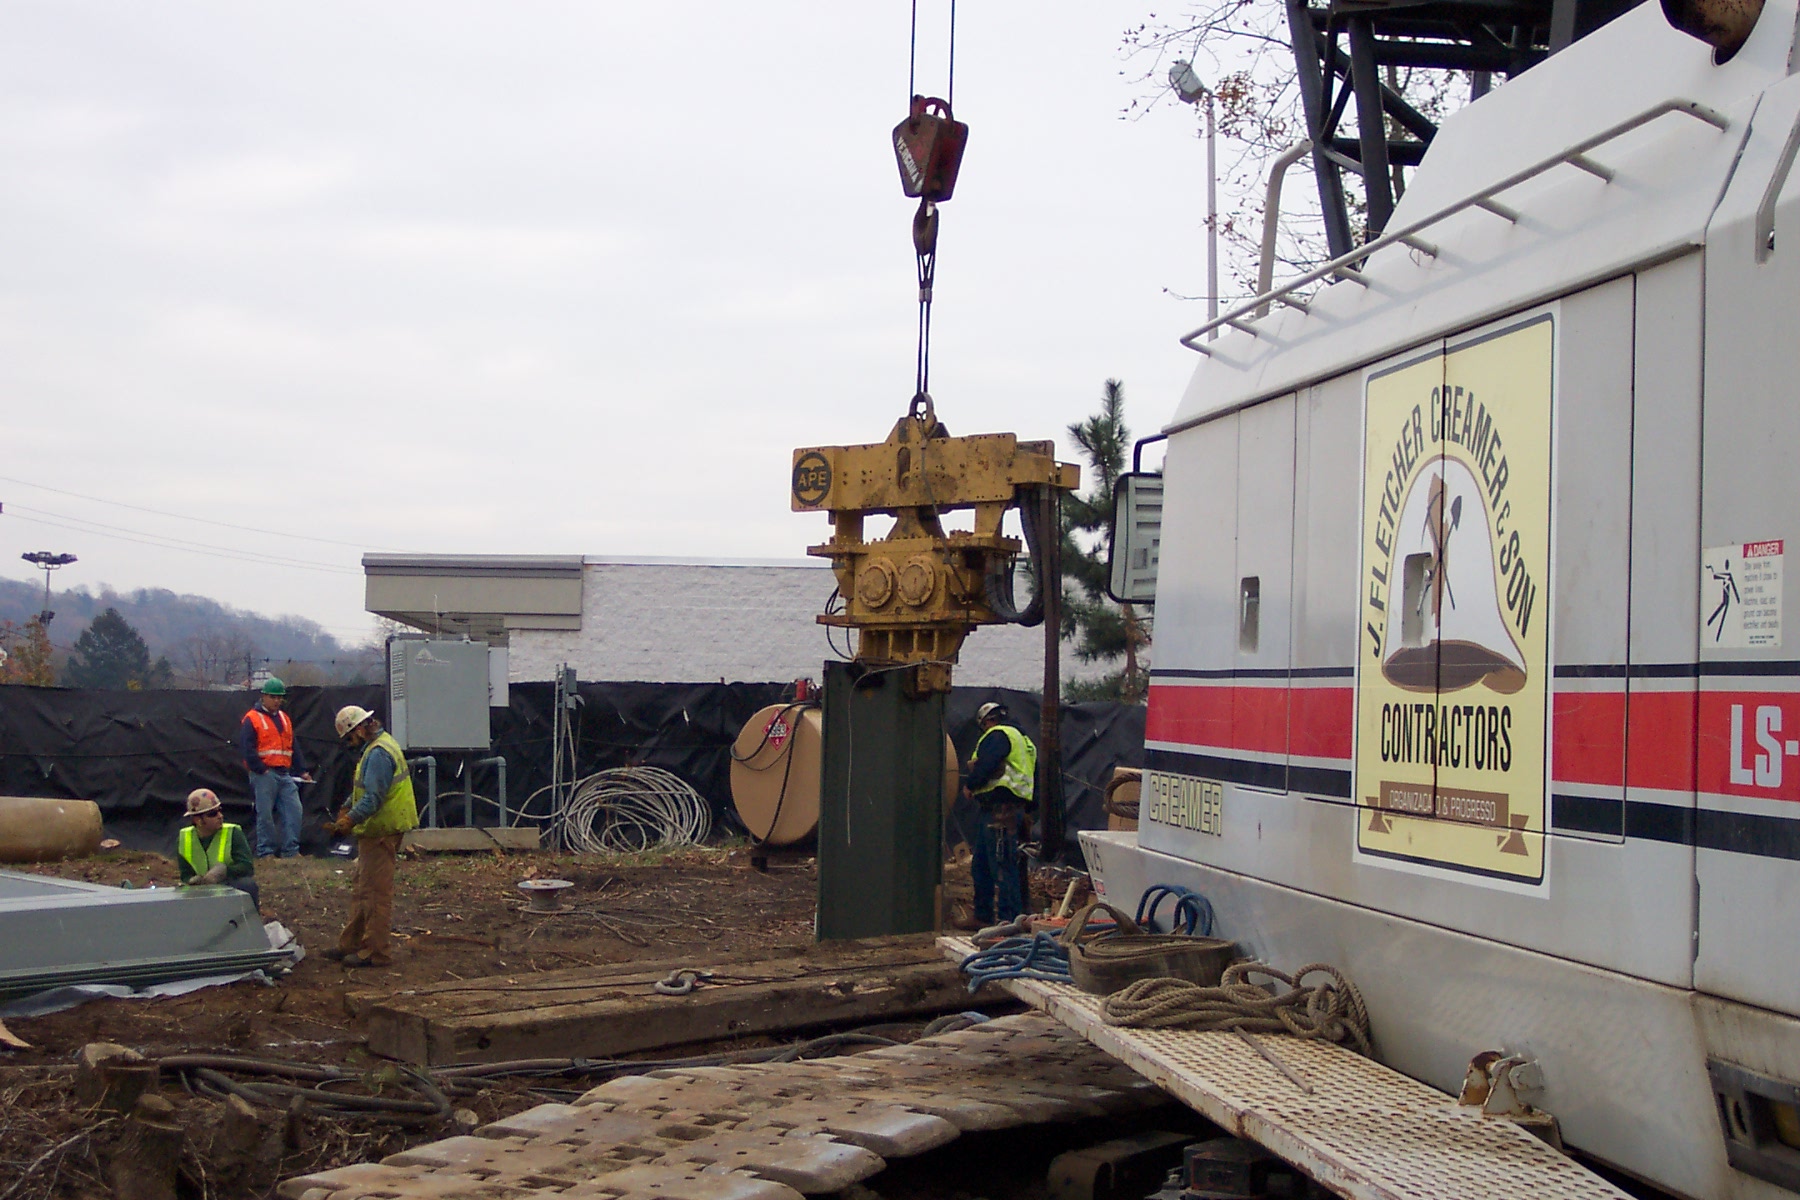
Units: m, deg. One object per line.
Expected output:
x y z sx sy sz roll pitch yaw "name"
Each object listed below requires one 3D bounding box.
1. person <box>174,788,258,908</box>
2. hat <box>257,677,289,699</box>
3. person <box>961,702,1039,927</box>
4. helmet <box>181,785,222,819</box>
-5.171 1.891 11.841 0.560 0.951 0.582 -5 3 -9 "person"
-7.748 1.094 19.358 0.327 0.283 0.483 3 -10 -24 "hat"
0.921 2.008 14.178 0.660 1.662 0.470 -6 2 -1 "person"
-5.240 1.537 11.802 0.187 0.224 0.264 -8 1 -33 "helmet"
